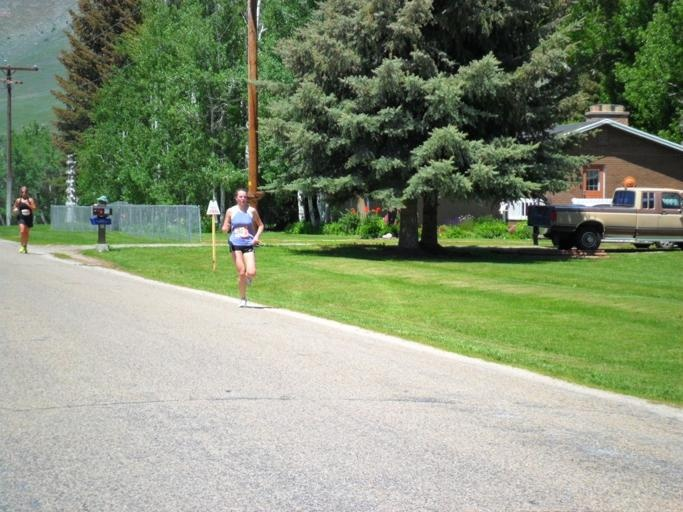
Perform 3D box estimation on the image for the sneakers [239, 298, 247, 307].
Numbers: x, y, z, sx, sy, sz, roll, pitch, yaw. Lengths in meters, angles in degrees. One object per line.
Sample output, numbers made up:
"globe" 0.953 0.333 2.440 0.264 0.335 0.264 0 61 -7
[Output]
"sneakers" -1.933 0.918 14.735 0.110 0.192 0.177 1 -6 -5
